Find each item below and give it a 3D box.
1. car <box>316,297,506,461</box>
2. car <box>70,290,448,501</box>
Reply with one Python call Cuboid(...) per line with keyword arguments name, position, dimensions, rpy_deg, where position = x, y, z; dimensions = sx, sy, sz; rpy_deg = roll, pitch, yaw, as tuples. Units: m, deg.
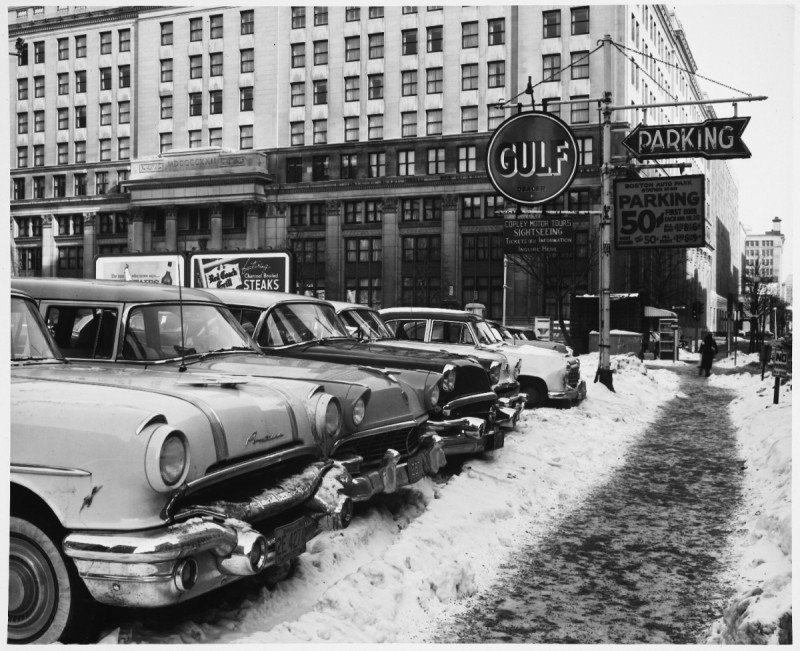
Cuboid(name="car", position=(0.029, 0.678, 12.577), dimensions=(2.401, 1.320, 1.547), rpy_deg=(-1, 0, 28))
Cuboid(name="car", position=(-1.521, 0.577, 10.024), dimensions=(3.572, 1.515, 1.792), rpy_deg=(1, 3, 23))
